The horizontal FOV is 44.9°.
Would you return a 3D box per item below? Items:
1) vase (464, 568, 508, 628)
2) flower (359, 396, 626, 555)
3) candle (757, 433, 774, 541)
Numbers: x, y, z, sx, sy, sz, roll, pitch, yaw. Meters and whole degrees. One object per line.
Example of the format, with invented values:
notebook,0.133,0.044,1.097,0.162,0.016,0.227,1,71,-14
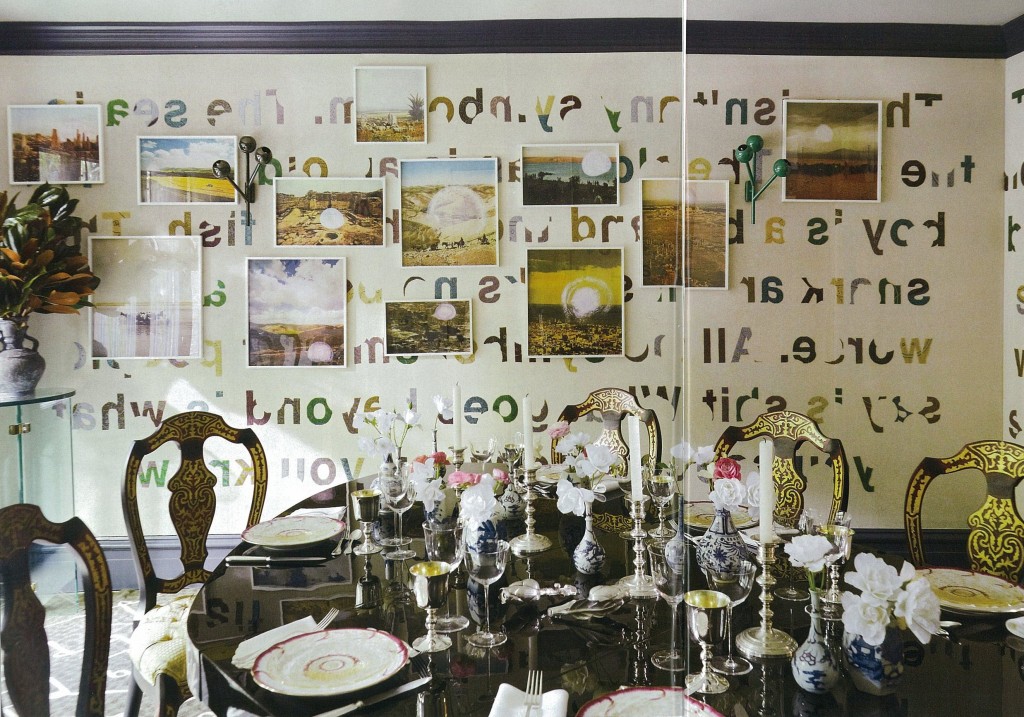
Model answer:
vase,-0.110,0.951,4.881,0.168,0.192,0.167,1,-12,-3
flower,-0.248,0.447,5.564,1.489,0.678,0.800,-5,7,-21
candle,0.966,0.496,4.710,0.067,0.314,0.304,2,1,11
